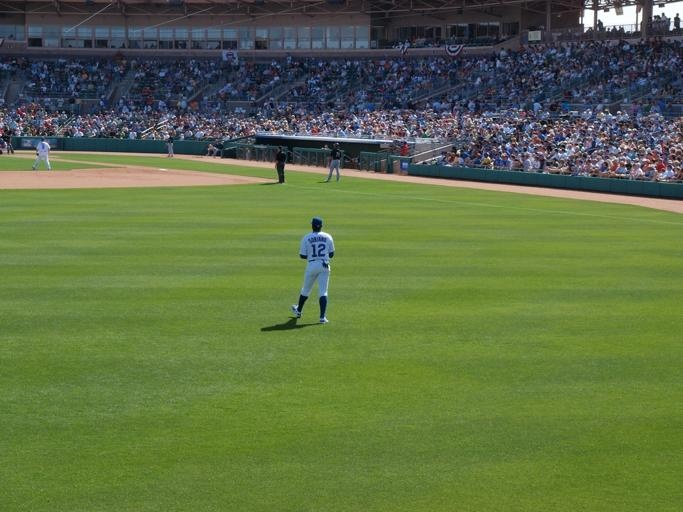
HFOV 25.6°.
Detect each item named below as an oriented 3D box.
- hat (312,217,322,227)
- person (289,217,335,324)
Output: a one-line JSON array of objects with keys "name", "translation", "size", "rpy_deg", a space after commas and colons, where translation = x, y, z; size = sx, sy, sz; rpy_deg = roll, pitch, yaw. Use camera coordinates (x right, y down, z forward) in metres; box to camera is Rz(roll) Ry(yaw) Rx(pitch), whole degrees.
[{"name": "hat", "translation": [-0.759, -0.983, 47.057], "size": [0.295, 0.291, 0.638], "rpy_deg": [0, 7, -3]}, {"name": "person", "translation": [-0.824, 0.504, 47.256], "size": [1.162, 3.293, 0.591], "rpy_deg": [2, 8, 6]}]
